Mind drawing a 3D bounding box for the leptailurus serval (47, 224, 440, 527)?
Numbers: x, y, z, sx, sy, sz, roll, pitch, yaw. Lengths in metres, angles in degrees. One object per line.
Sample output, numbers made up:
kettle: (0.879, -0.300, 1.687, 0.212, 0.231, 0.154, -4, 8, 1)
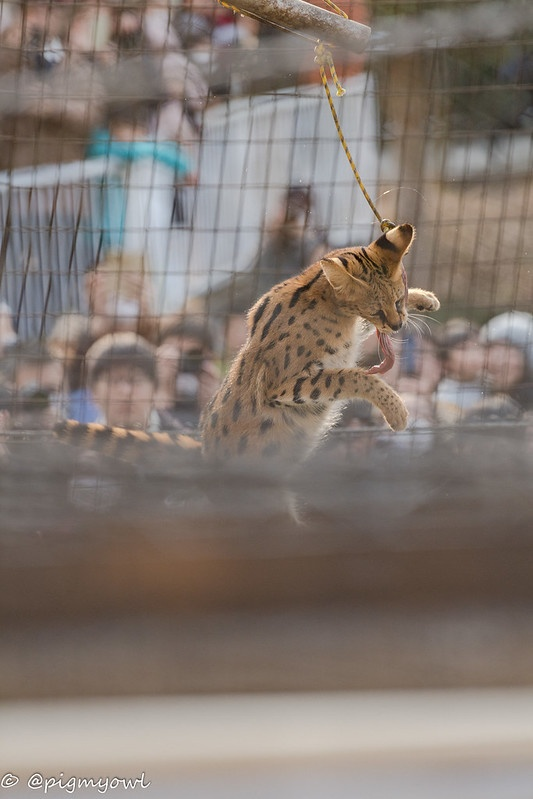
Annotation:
leptailurus serval: (-0.078, -0.038, 3.044, 1.157, 0.646, 0.480, -9, 16, 28)
